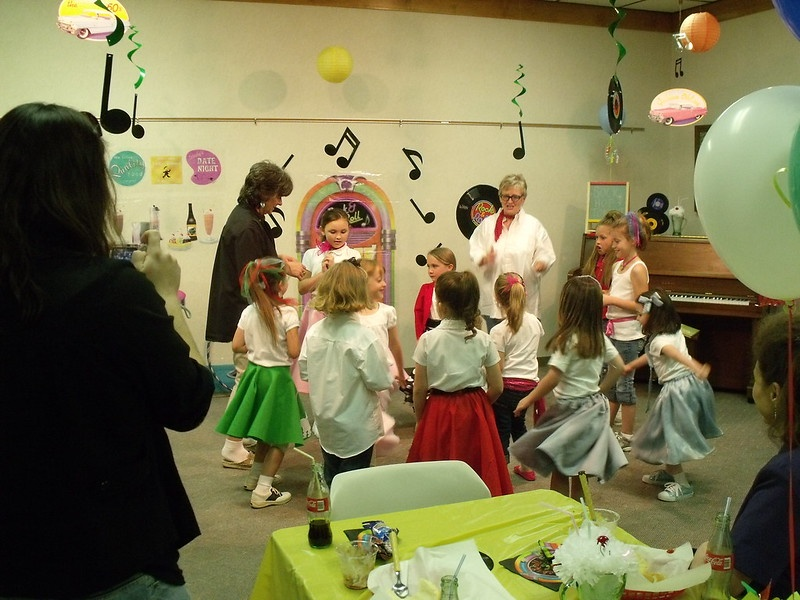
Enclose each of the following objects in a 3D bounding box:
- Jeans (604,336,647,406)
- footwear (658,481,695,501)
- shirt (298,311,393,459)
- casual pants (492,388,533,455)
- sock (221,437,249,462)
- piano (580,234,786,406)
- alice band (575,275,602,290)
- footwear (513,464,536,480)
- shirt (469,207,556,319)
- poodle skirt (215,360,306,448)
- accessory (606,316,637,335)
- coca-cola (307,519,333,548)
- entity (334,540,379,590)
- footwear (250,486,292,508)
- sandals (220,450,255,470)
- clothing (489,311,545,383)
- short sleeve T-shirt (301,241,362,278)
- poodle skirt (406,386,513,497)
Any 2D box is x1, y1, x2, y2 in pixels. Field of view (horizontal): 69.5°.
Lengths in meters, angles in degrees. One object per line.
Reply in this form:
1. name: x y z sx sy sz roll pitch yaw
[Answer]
1. Jeans: 1.767 0.548 4.501 0.190 0.550 0.261 7 -5 -7
2. footwear: 1.718 1.186 3.588 0.210 0.087 0.103 0 1 -9
3. shirt: -0.279 0.439 3.114 0.510 0.719 0.408 3 4 23
4. casual pants: 0.709 0.782 3.629 0.192 0.462 0.158 0 5 -12
5. sock: -1.122 1.028 3.913 0.235 0.173 0.100 -1 5 -15
6. piano: 2.776 0.073 5.734 1.396 1.363 0.481 2 -1 33
7. alice band: 1.091 -0.100 3.332 0.124 0.049 0.098 33 17 25
8. footwear: 0.829 1.151 3.837 0.086 0.052 0.163 -10 17 -40
9. shirt: 1.042 -0.301 5.401 0.775 0.984 0.661 3 16 20
10. poodle skirt: -0.859 0.577 3.552 0.450 0.457 0.412 -3 -5 -33
11. accessory: 1.746 0.211 4.558 0.156 0.083 0.160 0 2 1
12. coca-cola: -0.230 0.675 1.654 0.072 0.079 0.074 2 2 2
13. entity: -0.118 0.721 1.526 0.105 0.086 0.107 1 -24 -1
14. footwear: -0.781 1.200 3.523 0.264 0.116 0.103 -1 4 -31
15. sandals: -1.098 1.108 3.991 0.280 0.114 0.130 0 -1 -1
16. clothing: 0.745 0.320 3.683 0.377 0.451 0.239 -6 11 -15
17. short sleeve T-shirt: -0.564 -0.331 4.470 0.445 0.356 0.246 -1 -3 8
18. poodle skirt: 0.302 0.690 3.058 0.291 0.386 0.377 -4 -21 39
